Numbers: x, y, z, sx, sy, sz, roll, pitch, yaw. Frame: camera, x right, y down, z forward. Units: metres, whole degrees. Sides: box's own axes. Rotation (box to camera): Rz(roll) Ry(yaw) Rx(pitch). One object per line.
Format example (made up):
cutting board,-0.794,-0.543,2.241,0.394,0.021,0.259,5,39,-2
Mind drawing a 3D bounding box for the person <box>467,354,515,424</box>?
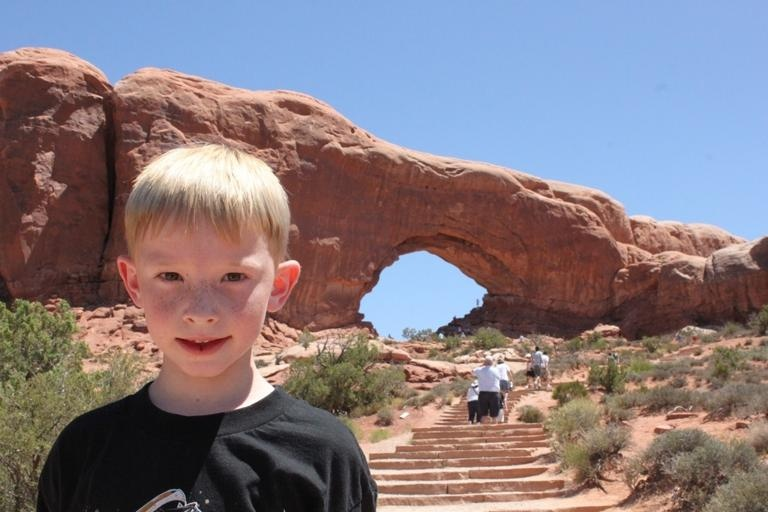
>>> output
person,3.853,4.690,30.677,0.827,2.544,1.254,1,10,40
